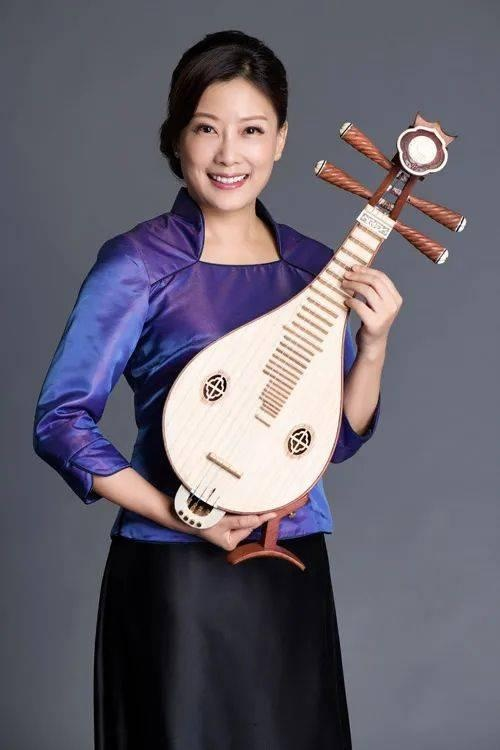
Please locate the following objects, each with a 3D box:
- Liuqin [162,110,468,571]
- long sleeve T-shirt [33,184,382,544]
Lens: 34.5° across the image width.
[{"bbox_3d":[0.075,-0.061,1.185,0.315,0.725,0.087,33,-15,-5],"label":"Liuqin"},{"bbox_3d":[-0.147,-0.047,1.122,0.491,0.526,0.152,8,-11,-14],"label":"long sleeve T-shirt"}]
